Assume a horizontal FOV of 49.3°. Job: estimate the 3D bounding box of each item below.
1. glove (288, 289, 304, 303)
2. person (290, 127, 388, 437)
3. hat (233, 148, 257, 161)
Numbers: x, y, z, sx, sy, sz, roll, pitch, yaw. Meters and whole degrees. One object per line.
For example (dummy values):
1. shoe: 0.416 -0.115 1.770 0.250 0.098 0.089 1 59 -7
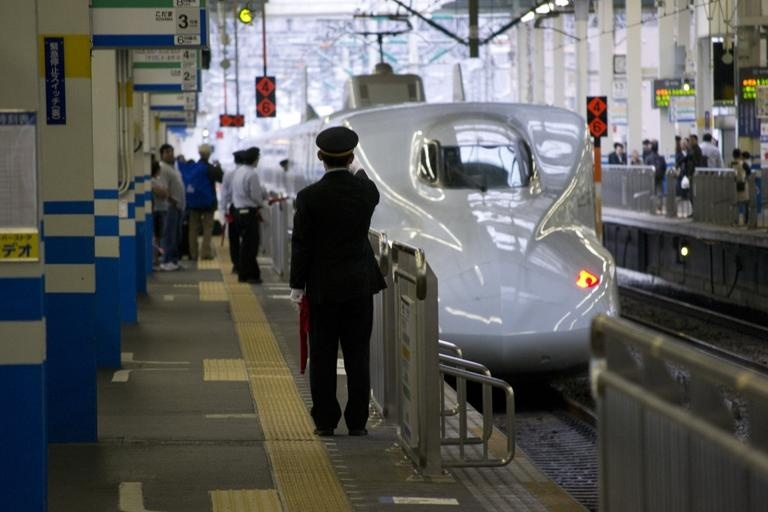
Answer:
1. glove: -0.660 0.307 6.336 0.109 0.135 0.086 2 -3 -19
2. person: -0.352 0.235 6.391 0.697 2.381 0.347 -1 7 -1
3. hat: -2.343 -1.731 14.517 0.286 0.294 0.386 -6 13 -35
